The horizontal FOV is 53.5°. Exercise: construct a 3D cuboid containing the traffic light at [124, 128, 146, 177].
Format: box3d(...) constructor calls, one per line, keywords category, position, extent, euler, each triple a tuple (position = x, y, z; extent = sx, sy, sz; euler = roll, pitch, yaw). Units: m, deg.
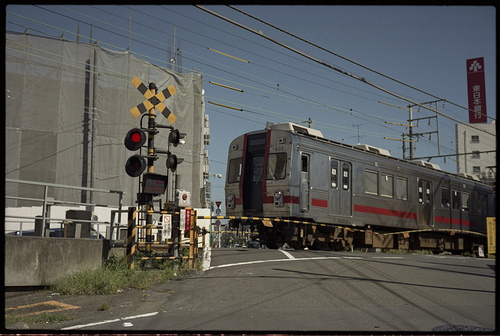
box3d(category="traffic light", position=(-3.445, -0.528, 14.948), extent=(0.647, 1.564, 0.639), euler=(3, -12, -13))
